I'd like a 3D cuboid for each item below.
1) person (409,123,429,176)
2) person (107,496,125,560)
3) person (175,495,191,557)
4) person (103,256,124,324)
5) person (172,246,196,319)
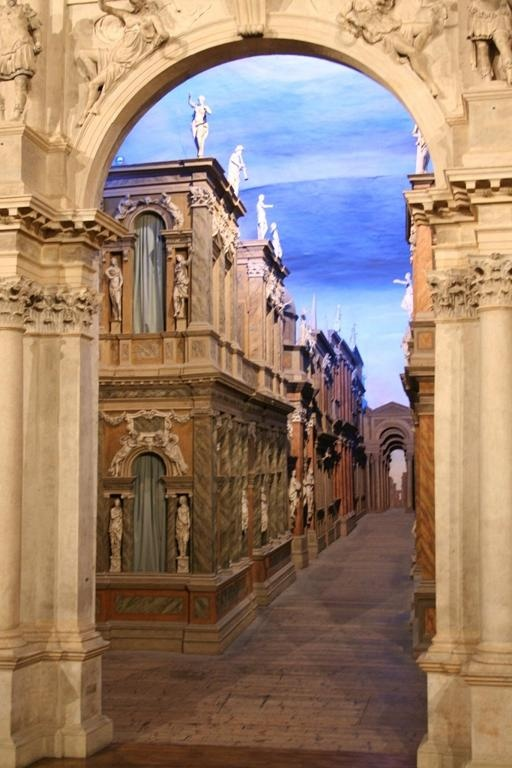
[{"bbox_3d":[2.496,-3.506,17.006,0.270,1.011,0.285,1,-26,-10],"label":"person"},{"bbox_3d":[-2.080,2.256,16.722,0.241,1.100,0.146,-3,-5,14],"label":"person"},{"bbox_3d":[-1.072,2.104,16.473,0.233,0.893,0.139,-3,-5,10],"label":"person"},{"bbox_3d":[-2.210,-1.438,17.475,0.274,1.067,0.237,-1,-5,-7],"label":"person"},{"bbox_3d":[-1.120,-1.463,17.076,0.334,1.101,0.261,-3,-5,12],"label":"person"}]
